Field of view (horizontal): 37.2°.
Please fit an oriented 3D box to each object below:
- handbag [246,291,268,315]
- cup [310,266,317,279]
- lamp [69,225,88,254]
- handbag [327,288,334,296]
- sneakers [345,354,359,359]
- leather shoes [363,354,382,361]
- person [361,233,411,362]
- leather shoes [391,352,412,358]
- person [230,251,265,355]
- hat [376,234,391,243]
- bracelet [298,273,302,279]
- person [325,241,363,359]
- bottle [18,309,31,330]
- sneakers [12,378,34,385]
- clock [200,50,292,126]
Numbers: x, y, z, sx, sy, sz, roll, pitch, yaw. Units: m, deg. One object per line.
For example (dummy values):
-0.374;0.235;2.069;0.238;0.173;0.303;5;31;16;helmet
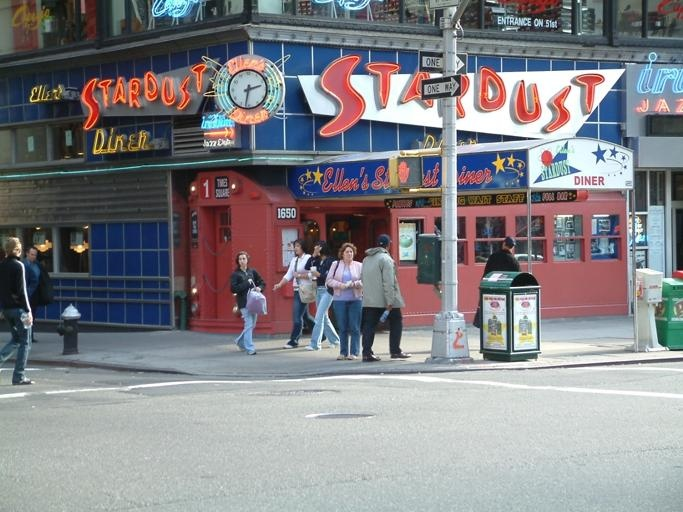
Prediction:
-1.671;0.940;20.013;0.511;0.602;0.229;2;-6;-23;handbag
-0.511;0.348;20.212;0.142;0.180;0.196;3;-2;9;cup
-6.871;-0.410;26.775;0.742;0.468;0.117;-1;-1;42;lamp
-0.203;0.708;20.042;0.096;0.125;0.128;1;-4;10;handbag
0.225;1.897;19.028;0.082;0.087;0.215;-1;-10;14;sneakers
0.579;1.891;18.814;0.323;0.144;0.127;-1;-3;-12;leather shoes
0.782;0.791;18.838;0.814;1.872;0.707;-1;0;3;person
1.140;1.874;19.009;0.395;0.176;0.134;-1;-1;-12;leather shoes
-1.870;0.948;20.565;0.700;1.495;1.442;-1;0;-6;person
0.744;-0.327;19.229;0.223;0.168;0.366;7;-5;18;hat
-0.805;0.413;20.420;0.107;0.102;0.046;-1;0;12;bracelet
0.076;0.864;19.143;0.636;1.714;0.587;-1;0;-2;person
-5.344;1.101;17.230;0.062;0.264;0.190;-12;-11;9;bottle
-5.311;2.133;17.137;0.301;0.126;0.116;-2;-2;-5;sneakers
-2.041;-3.791;22.889;1.696;1.301;0.173;-1;-3;8;clock
